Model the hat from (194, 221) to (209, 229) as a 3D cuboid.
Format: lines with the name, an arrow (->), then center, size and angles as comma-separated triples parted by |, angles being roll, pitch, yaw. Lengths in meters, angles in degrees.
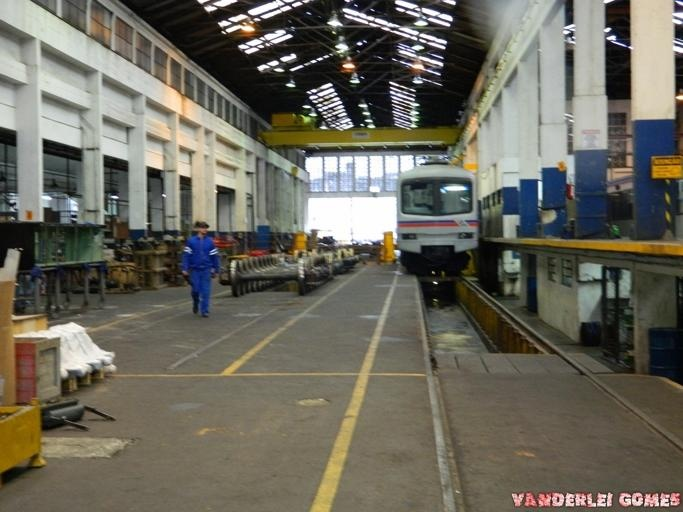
hat -> -3.026, -0.655, 14.612 | 0.273, 0.169, 0.329 | -3, 0, -35

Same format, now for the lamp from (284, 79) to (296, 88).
lamp -> -2.787, -9.720, 38.488 | 0.823, 0.195, 0.782 | -3, 0, 2

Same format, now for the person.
person -> -3.055, 0.316, 14.905 | 0.741, 2.145, 1.233 | -3, 8, -12
